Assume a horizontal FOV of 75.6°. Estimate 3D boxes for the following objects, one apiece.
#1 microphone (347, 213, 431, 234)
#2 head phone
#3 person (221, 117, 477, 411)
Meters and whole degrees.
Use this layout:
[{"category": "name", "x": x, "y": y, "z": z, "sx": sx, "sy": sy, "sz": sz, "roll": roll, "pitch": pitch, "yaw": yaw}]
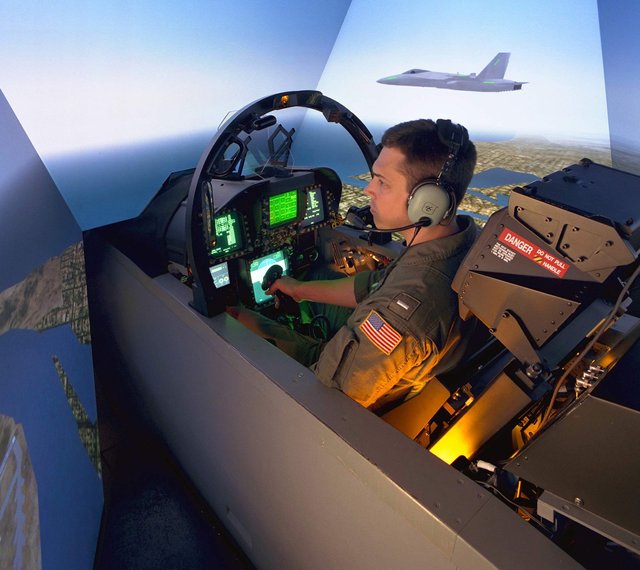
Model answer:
[{"category": "microphone", "x": 0.231, "y": -0.172, "z": 1.216, "sx": 0.159, "sy": 0.041, "sz": 0.129, "roll": 3, "pitch": 12, "yaw": 37}, {"category": "head phone", "x": 0.336, "y": -0.304, "z": 1.149, "sx": 0.133, "sy": 0.284, "sz": 0.175, "roll": 15, "pitch": 26, "yaw": 13}, {"category": "person", "x": 0.122, "y": -0.143, "z": 1.335, "sx": 0.696, "sy": 0.794, "sz": 0.782, "roll": 13, "pitch": 34, "yaw": 9}]
